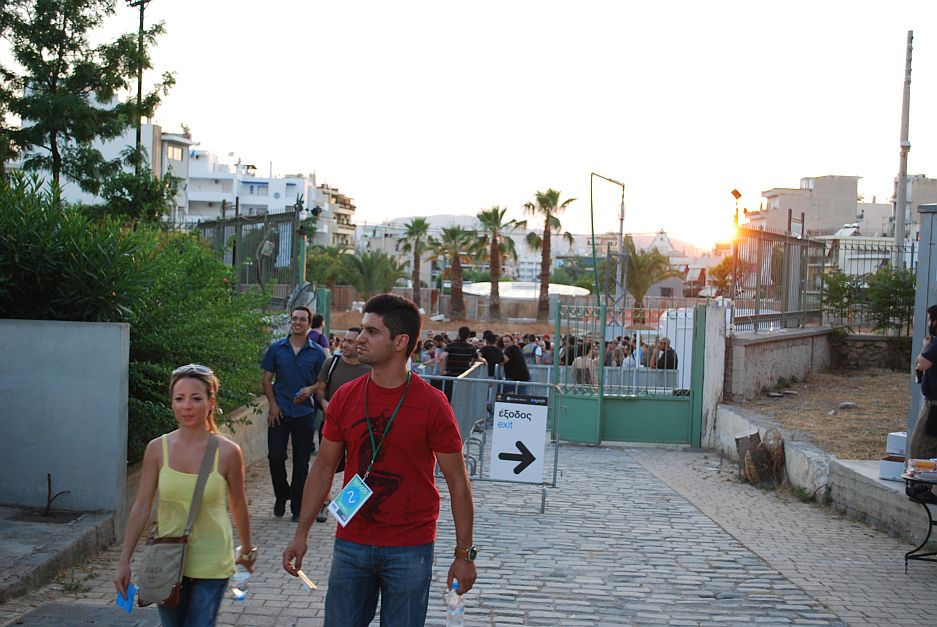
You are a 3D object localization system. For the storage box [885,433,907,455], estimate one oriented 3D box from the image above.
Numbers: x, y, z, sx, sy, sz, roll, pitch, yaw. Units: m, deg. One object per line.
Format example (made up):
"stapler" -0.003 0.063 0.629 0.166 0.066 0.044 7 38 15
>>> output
"storage box" 5.541 1.659 10.641 0.273 0.256 0.289 0 3 3

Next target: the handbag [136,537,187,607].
"handbag" -2.125 1.786 5.724 0.322 0.452 0.161 -3 -17 21

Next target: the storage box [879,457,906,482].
"storage box" 5.417 1.972 10.473 0.201 0.275 0.358 0 -1 -41

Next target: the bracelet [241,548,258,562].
"bracelet" -1.670 1.822 6.284 0.108 0.102 0.137 7 4 -10
